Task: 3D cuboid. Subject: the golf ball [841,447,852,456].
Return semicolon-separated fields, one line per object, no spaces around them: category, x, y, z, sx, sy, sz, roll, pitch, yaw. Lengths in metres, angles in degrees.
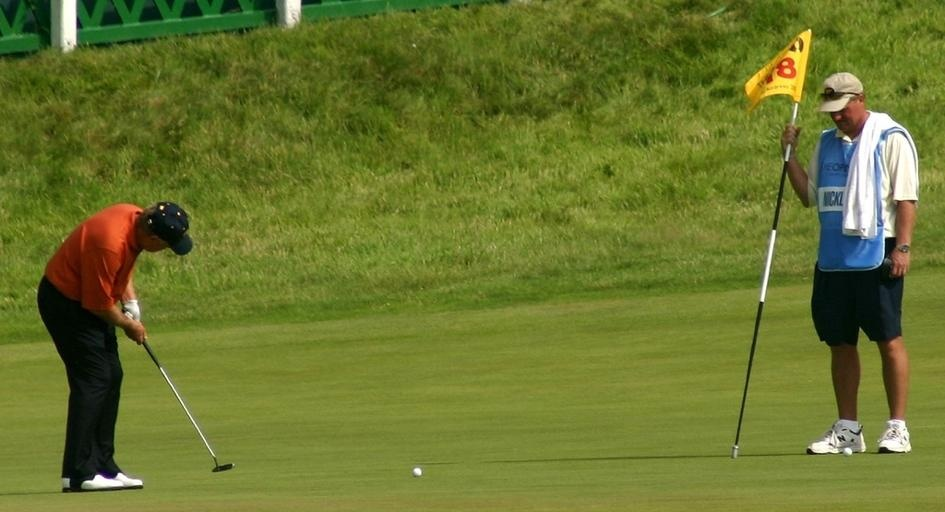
golf ball;5.566;2.860;30.005;0.182;0.115;0.111;-6;6;-13

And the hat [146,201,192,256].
hat;-4.544;-0.405;30.308;0.987;0.425;0.653;24;-35;-5

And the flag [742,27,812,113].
flag;4.614;-2.777;30.924;1.049;1.094;0.116;-3;-19;37

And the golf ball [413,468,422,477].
golf ball;-0.804;3.155;29.960;0.144;0.115;0.148;-5;6;0

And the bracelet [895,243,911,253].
bracelet;6.380;-0.111;30.161;0.146;0.072;0.156;20;-26;-37
